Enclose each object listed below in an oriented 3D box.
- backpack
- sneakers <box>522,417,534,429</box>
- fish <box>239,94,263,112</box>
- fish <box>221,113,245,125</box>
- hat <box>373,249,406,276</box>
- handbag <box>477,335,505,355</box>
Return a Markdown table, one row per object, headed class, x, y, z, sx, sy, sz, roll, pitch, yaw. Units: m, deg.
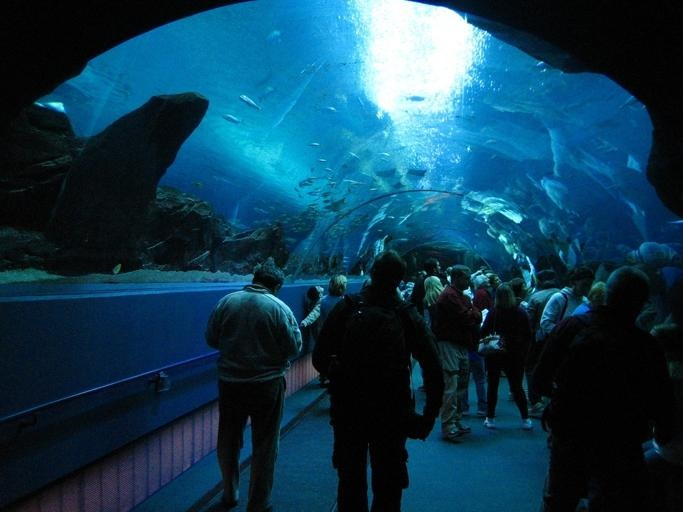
| class | x | y | z | sx | sy | sz | roll | pitch | yaw |
| --- | --- | --- | --- | --- | --- | --- | --- | --- | --- |
| backpack | 0.297 | 0.720 | 4.363 | 0.586 | 0.809 | 0.472 | 5 | 29 | 3 |
| sneakers | 2.865 | 2.589 | 7.580 | 0.116 | 0.124 | 0.317 | -1 | -9 | 27 |
| fish | -1.368 | -2.340 | 7.457 | 0.072 | 0.090 | 0.364 | 10 | -10 | 35 |
| fish | -1.579 | -2.029 | 7.210 | 0.299 | 0.107 | 0.061 | 16 | -23 | -41 |
| hat | 0.442 | 0.062 | 4.446 | 0.215 | 0.244 | 0.261 | 6 | 0 | 8 |
| handbag | 2.221 | 1.325 | 7.267 | 0.120 | 0.194 | 0.295 | 20 | -31 | -41 |
